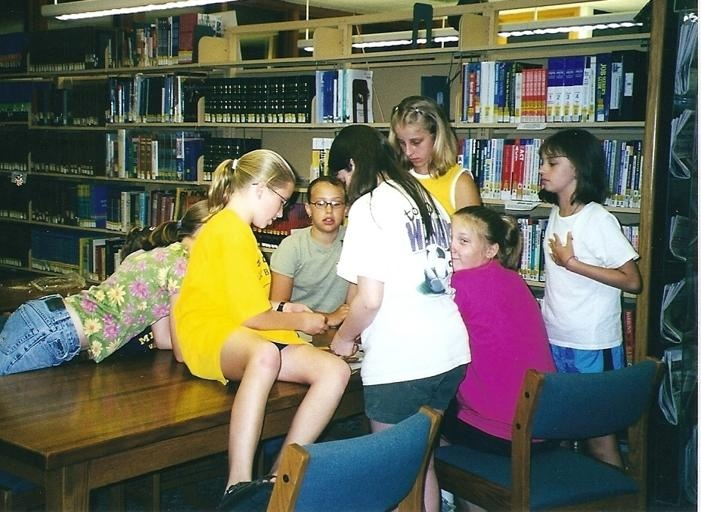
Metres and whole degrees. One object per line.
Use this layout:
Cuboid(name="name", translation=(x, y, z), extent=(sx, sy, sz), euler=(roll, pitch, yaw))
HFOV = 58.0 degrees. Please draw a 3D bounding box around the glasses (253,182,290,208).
Cuboid(name="glasses", translation=(-0.290, -0.252, 2.396), extent=(0.096, 0.029, 0.098), euler=(35, 13, 23))
